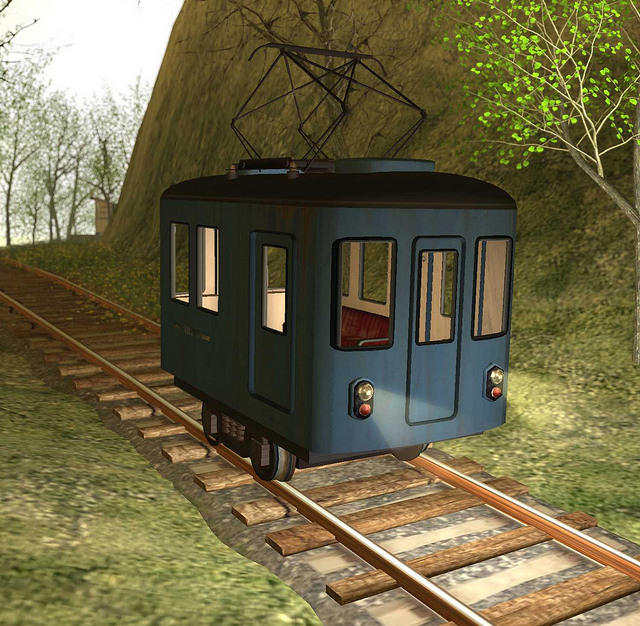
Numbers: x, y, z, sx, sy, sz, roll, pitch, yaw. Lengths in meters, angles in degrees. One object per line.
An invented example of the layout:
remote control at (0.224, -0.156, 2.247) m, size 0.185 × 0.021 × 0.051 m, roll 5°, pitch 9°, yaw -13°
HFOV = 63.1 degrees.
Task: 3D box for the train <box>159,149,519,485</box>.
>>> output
train at (-0.149, -0.107, 6.491) m, size 2.557 × 2.877 × 4.494 m, roll -4°, pitch 9°, yaw -31°
